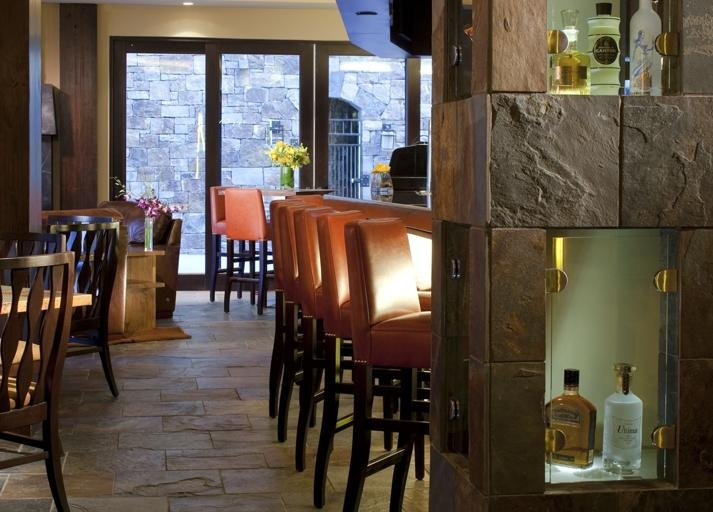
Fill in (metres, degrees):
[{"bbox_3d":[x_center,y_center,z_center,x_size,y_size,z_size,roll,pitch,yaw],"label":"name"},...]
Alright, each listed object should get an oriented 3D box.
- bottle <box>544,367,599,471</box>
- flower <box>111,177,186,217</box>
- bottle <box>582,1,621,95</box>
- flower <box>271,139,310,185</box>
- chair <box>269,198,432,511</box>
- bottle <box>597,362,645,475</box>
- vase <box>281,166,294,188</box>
[{"bbox_3d":[0.623,0.479,2.156,0.155,0.302,0.022,-1,6,-14],"label":"bottle"},{"bbox_3d":[-2.209,-0.571,7.819,0.826,0.293,0.679,12,7,40],"label":"flower"},{"bbox_3d":[0.703,-0.592,2.103,0.110,0.253,0.036,-1,6,-19],"label":"bottle"},{"bbox_3d":[-0.778,-1.063,8.614,0.433,0.518,0.231,0,6,-2],"label":"flower"},{"bbox_3d":[0.051,0.394,3.650,1.002,1.774,0.983,1,3,-9],"label":"chair"},{"bbox_3d":[0.777,0.480,2.167,0.115,0.328,0.021,0,6,-3],"label":"bottle"},{"bbox_3d":[-0.797,-0.926,8.564,0.189,0.340,0.205,-1,5,-7],"label":"vase"}]
